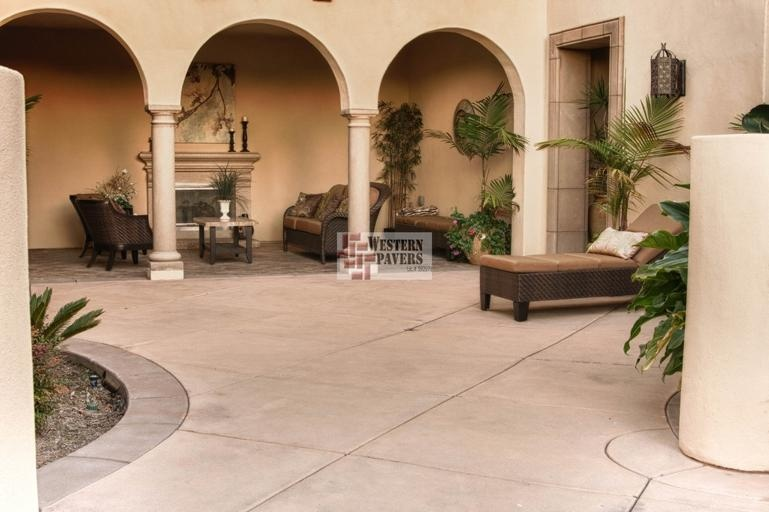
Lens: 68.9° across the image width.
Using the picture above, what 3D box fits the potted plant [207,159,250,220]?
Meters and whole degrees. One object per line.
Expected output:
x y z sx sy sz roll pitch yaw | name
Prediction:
-3.311 -1.293 12.150 0.744 0.874 0.726 6 -2 25 | potted plant

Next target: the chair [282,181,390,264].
-1.291 -0.625 10.796 1.022 1.361 2.120 -2 5 -18 | chair

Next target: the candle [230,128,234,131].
-3.426 -2.837 12.580 0.074 0.050 0.093 0 -2 -1 | candle

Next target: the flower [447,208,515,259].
1.635 -0.404 9.885 1.043 0.645 0.969 1 0 5 | flower

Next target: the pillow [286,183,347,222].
-1.429 -1.074 11.439 1.103 0.396 0.438 -1 25 45 | pillow

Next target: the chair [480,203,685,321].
2.448 0.067 6.868 2.315 1.127 1.139 -1 3 -10 | chair
